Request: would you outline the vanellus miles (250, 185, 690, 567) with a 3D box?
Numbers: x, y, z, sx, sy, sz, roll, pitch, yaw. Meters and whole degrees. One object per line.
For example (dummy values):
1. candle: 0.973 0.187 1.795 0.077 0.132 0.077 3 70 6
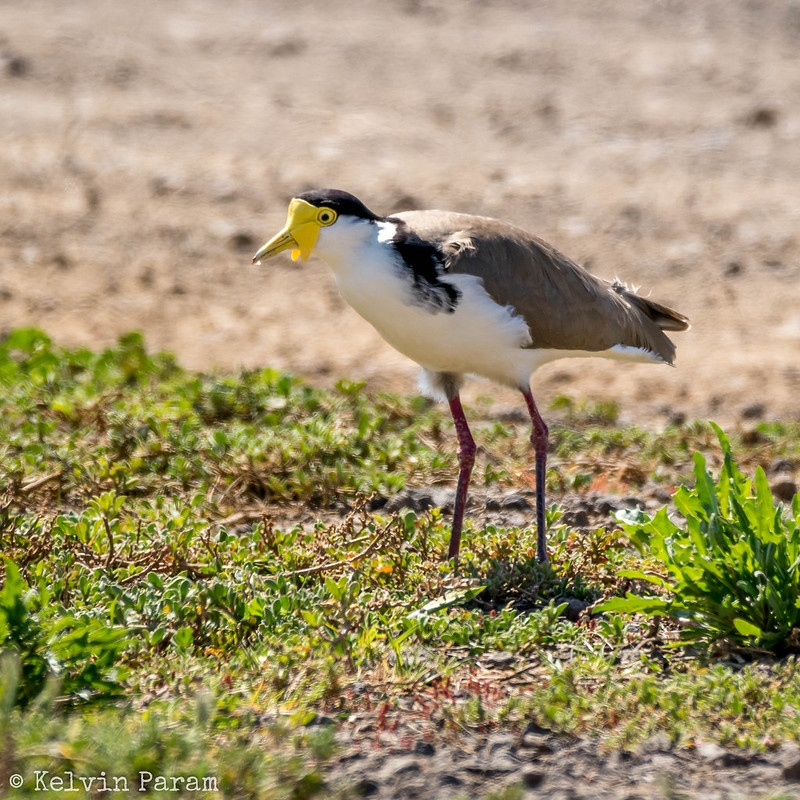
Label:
1. vanellus miles: 0.470 -0.097 5.373 1.693 1.551 0.701 1 -6 -44
